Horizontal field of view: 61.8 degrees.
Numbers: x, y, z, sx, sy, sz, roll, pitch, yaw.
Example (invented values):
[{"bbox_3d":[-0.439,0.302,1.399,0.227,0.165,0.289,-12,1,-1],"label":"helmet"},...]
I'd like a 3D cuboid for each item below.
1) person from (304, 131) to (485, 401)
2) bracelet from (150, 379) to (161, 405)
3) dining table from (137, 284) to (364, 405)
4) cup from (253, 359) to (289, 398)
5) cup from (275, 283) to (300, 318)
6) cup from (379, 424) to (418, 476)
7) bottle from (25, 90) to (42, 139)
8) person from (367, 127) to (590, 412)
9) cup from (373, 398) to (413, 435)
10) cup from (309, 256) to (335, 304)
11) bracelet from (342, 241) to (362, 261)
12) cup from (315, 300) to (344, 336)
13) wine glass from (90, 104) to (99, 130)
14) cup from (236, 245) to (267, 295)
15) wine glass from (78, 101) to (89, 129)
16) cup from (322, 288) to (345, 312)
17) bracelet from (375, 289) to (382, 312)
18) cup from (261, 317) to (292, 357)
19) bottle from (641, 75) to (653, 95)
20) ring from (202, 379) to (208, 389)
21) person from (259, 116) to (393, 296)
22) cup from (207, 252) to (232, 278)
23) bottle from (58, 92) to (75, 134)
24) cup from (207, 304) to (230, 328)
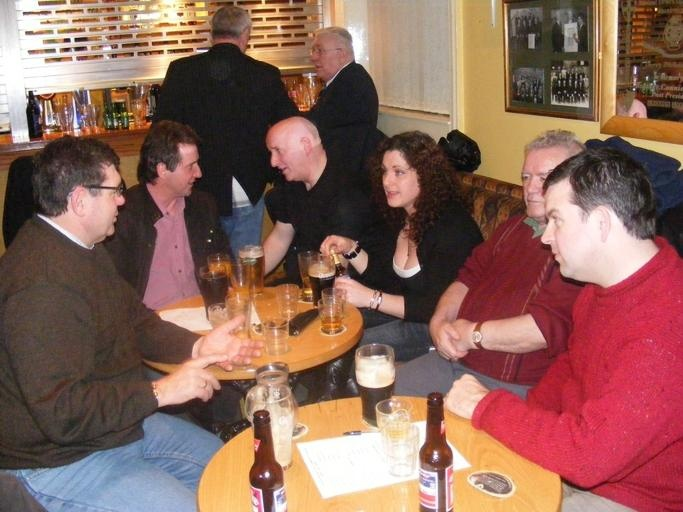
[{"bbox_3d":[0.352,0.192,3.351,0.916,1.663,0.823,1,17,8],"label":"person"},{"bbox_3d":[-0.678,0.487,2.082,0.014,0.055,0.056,-5,46,-10],"label":"bracelet"},{"bbox_3d":[-0.293,0.487,2.651,0.696,0.560,0.753,3,17,21],"label":"dining table"},{"bbox_3d":[-0.223,0.386,1.847,0.091,0.104,0.090,1,9,0],"label":"cup"},{"bbox_3d":[-0.254,0.196,2.762,0.123,0.155,0.135,-1,18,0],"label":"cup"},{"bbox_3d":[0.175,0.584,1.723,0.122,0.138,0.123,6,-4,0],"label":"cup"},{"bbox_3d":[-2.828,-1.304,5.238,0.129,0.430,0.328,-8,12,-28],"label":"bottle"},{"bbox_3d":[0.692,0.263,2.624,0.866,1.542,0.737,-5,20,-28],"label":"person"},{"bbox_3d":[0.155,0.470,1.718,0.088,0.090,0.101,-3,-2,29],"label":"cup"},{"bbox_3d":[-0.099,0.119,2.790,0.138,0.253,0.141,0,13,0],"label":"cup"},{"bbox_3d":[0.052,-0.023,3.231,0.086,0.046,0.103,-25,25,25],"label":"bracelet"},{"bbox_3d":[-0.047,0.271,2.545,0.124,0.142,0.133,-1,5,0],"label":"cup"},{"bbox_3d":[-2.321,-1.303,5.320,0.081,0.222,0.163,-6,12,-17],"label":"wine glass"},{"bbox_3d":[-0.467,0.076,2.964,0.140,0.231,0.142,-1,14,0],"label":"cup"},{"bbox_3d":[-2.388,-1.306,5.290,0.064,0.214,0.079,-13,15,-43],"label":"wine glass"},{"bbox_3d":[-0.038,0.182,2.590,0.104,0.124,0.114,0,9,0],"label":"cup"},{"bbox_3d":[0.189,0.237,2.966,0.020,0.071,0.072,19,-11,6],"label":"bracelet"},{"bbox_3d":[-0.287,0.340,2.439,0.129,0.133,0.121,-2,21,1],"label":"cup"},{"bbox_3d":[1.508,-0.851,2.825,0.042,0.073,0.056,-2,2,-44],"label":"bottle"},{"bbox_3d":[-0.510,0.472,2.119,0.036,0.037,0.011,0,-3,-30],"label":"ring"},{"bbox_3d":[-0.188,-0.104,3.667,0.698,1.413,0.688,-10,16,-43],"label":"person"},{"bbox_3d":[-0.591,0.028,2.866,0.128,0.141,0.123,1,4,0],"label":"cup"},{"bbox_3d":[-2.550,-1.344,5.325,0.153,0.395,0.586,-7,12,-23],"label":"bottle"},{"bbox_3d":[-0.544,0.256,2.571,0.094,0.112,0.095,-1,9,0],"label":"cup"}]
